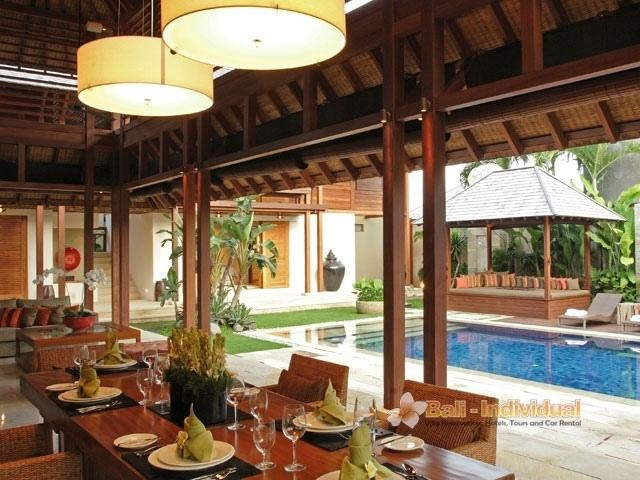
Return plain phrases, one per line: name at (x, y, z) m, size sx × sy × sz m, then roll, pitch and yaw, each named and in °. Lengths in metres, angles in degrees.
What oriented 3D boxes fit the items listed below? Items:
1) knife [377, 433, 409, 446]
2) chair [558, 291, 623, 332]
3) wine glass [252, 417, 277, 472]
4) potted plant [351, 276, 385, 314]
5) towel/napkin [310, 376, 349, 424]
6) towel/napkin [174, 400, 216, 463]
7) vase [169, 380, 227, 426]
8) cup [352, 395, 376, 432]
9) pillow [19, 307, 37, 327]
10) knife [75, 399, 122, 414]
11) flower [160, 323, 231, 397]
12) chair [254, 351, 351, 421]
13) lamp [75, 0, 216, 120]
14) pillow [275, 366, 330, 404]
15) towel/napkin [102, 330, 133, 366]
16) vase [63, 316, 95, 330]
knife at (0.362, 1.035, 2.486) m, size 0.051 × 0.035 × 0.242 m, roll -1°, pitch -7°, yaw 27°
chair at (7.067, 1.796, 12.389) m, size 1.480 × 0.603 × 0.837 m, roll -6°, pitch -1°, yaw -17°
wine glass at (-0.266, 0.946, 2.274) m, size 0.095 × 0.243 × 0.307 m, roll 1°, pitch -2°, yaw -6°
potted plant at (1.512, 1.797, 15.090) m, size 1.149 × 1.053 × 1.201 m, roll -2°, pitch -12°, yaw 10°
towel/napkin at (0.038, 0.934, 2.695) m, size 0.175 × 0.192 × 0.144 m, roll -21°, pitch -41°, yaw 18°
towel/napkin at (-0.618, 0.918, 2.303) m, size 0.185 × 0.241 × 0.193 m, roll -3°, pitch 8°, yaw -4°
vase at (-0.728, 0.944, 2.803) m, size 0.313 × 0.186 × 0.302 m, roll 2°, pitch -3°, yaw -27°
cup at (0.229, 0.928, 2.581) m, size 0.133 × 0.193 × 0.125 m, roll 1°, pitch 8°, yaw 0°
pillow at (-5.268, 1.386, 8.569) m, size 0.299 × 0.233 × 0.137 m, roll 12°, pitch 1°, yaw 37°
knife at (-1.405, 1.047, 2.992) m, size 0.037 × 0.028 × 0.264 m, roll 9°, pitch 3°, yaw 23°
flower at (-0.719, 0.717, 2.826) m, size 0.378 × 0.351 × 0.217 m, roll 0°, pitch 0°, yaw 3°
chair at (-0.194, 1.186, 3.623) m, size 0.475 × 0.483 × 0.832 m, roll -1°, pitch -4°, yaw -37°
lamp at (-1.161, -1.088, 3.357) m, size 0.734 × 0.777 × 0.727 m, roll -4°, pitch -8°, yaw 29°
pillow at (-0.122, 1.075, 3.534) m, size 0.122 × 0.242 × 0.431 m, roll 40°, pitch -24°, yaw -31°
towel/napkin at (-1.760, 0.917, 4.107) m, size 0.269 × 0.249 × 0.252 m, roll -3°, pitch 0°, yaw 43°
vase at (-3.492, 1.185, 7.011) m, size 0.281 × 0.109 × 0.271 m, roll 0°, pitch -6°, yaw 0°
